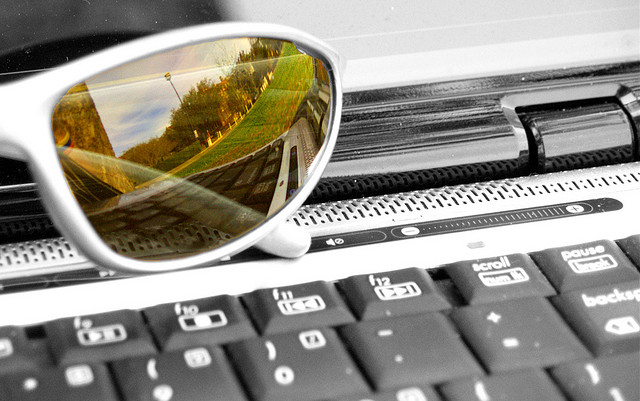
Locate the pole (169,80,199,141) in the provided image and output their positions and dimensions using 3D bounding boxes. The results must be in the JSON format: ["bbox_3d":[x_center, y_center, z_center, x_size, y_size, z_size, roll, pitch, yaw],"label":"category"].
[{"bbox_3d":[-0.127,-0.084,0.509,0.008,0.018,0.029,-1,84,9],"label":"pole"}]

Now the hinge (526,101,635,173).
[{"bbox_3d":[0.328,-0.077,0.692,0.120,0.082,0.075,-2,0,-8],"label":"hinge"}]
